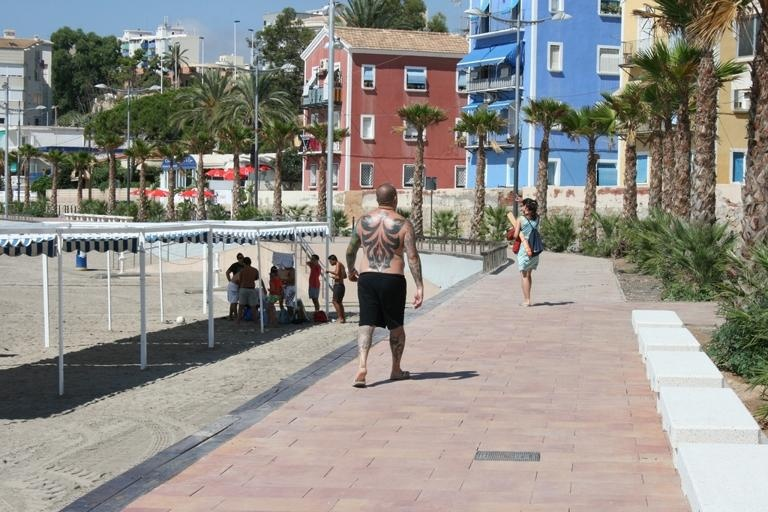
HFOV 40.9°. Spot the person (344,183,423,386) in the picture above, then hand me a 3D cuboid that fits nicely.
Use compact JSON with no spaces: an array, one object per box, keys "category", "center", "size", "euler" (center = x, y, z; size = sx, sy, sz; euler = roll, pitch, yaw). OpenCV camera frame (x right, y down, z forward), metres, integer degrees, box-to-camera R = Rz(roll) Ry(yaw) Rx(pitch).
[{"category":"person","center":[0.009,0.412,14.850],"size":[1.091,2.870,1.058],"euler":[-2,5,-2]}]

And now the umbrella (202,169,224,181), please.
[{"category":"umbrella","center":[-13.342,-6.445,81.226],"size":[1.584,0.673,1.643],"euler":[1,9,4]}]

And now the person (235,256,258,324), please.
[{"category":"person","center":[-3.301,0.806,24.745],"size":[0.505,1.563,0.753],"euler":[-2,5,-9]}]

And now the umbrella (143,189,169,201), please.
[{"category":"umbrella","center":[-16.743,-4.413,75.076],"size":[1.849,0.671,1.736],"euler":[1,0,11]}]

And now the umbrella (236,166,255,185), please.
[{"category":"umbrella","center":[-10.838,-6.245,78.330],"size":[1.816,1.113,1.839],"euler":[0,4,-1]}]

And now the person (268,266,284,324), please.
[{"category":"person","center":[-2.650,0.917,25.077],"size":[0.367,1.281,0.683],"euler":[-2,5,-6]}]

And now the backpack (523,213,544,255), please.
[{"category":"backpack","center":[3.078,-0.333,20.585],"size":[0.255,0.694,0.433],"euler":[1,5,27]}]

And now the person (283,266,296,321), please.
[{"category":"person","center":[-2.322,0.934,25.207],"size":[0.290,1.164,0.756],"euler":[-2,5,-6]}]

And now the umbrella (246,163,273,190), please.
[{"category":"umbrella","center":[-9.512,-6.141,80.649],"size":[2.316,1.534,2.257],"euler":[-4,6,-39]}]
